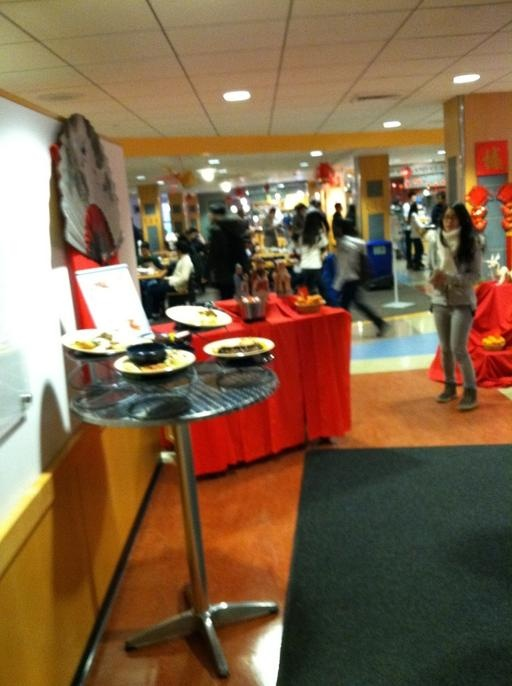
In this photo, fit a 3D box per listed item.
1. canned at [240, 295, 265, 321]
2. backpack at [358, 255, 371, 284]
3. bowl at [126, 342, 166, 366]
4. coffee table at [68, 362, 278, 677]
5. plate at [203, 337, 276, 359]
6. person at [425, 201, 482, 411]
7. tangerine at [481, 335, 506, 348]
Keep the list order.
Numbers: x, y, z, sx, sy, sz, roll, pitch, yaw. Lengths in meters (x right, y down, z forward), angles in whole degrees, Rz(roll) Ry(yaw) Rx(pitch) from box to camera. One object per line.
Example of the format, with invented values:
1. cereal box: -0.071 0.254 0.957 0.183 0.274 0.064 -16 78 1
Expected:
1. canned: -0.010 -0.189 2.976 0.143 0.162 0.136 -10 17 -4
2. backpack: 1.234 -0.824 5.884 0.087 0.357 0.653 -5 9 17
3. bowl: -0.318 0.031 1.524 0.110 0.051 0.152 -9 9 -14
4. coffee table: -0.307 0.660 1.854 0.714 0.777 0.710 -4 30 -4
5. plate: -0.058 0.016 1.857 0.238 0.051 0.304 -6 9 4
6. person: 1.408 -0.241 3.601 0.369 1.409 0.432 -5 10 19
7. tangerine: 1.923 -0.009 4.217 0.124 0.062 0.118 -1 4 -11
